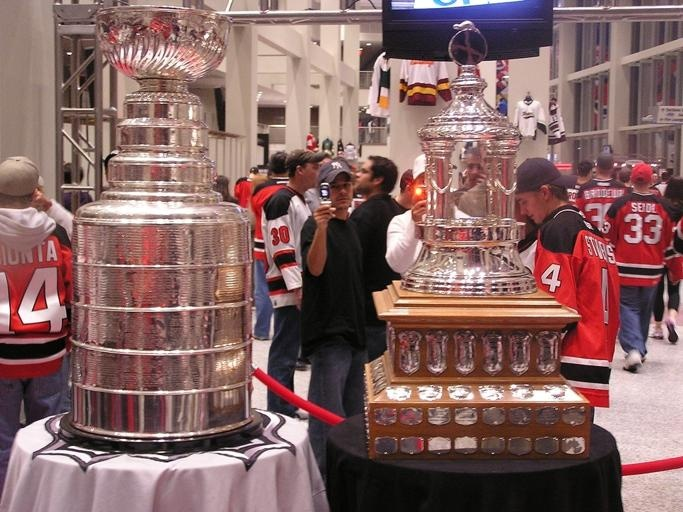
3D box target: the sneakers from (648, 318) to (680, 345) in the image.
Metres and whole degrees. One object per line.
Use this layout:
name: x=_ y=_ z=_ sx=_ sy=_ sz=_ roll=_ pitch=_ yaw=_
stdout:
sneakers: x=3.364 y=0.798 z=9.035 sx=0.172 sy=0.185 sz=0.478 roll=1 pitch=-24 yaw=30

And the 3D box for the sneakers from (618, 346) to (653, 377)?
sneakers: x=2.604 y=0.958 z=7.687 sx=0.148 sy=0.143 sz=0.362 roll=-4 pitch=-12 yaw=6

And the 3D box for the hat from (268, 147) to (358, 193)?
hat: x=-0.205 y=-0.474 z=4.687 sx=0.518 sy=0.173 sz=0.293 roll=2 pitch=11 yaw=18

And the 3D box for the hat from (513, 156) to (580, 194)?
hat: x=0.965 y=-0.383 z=4.090 sx=0.268 sy=0.114 sz=0.152 roll=-8 pitch=12 yaw=0
